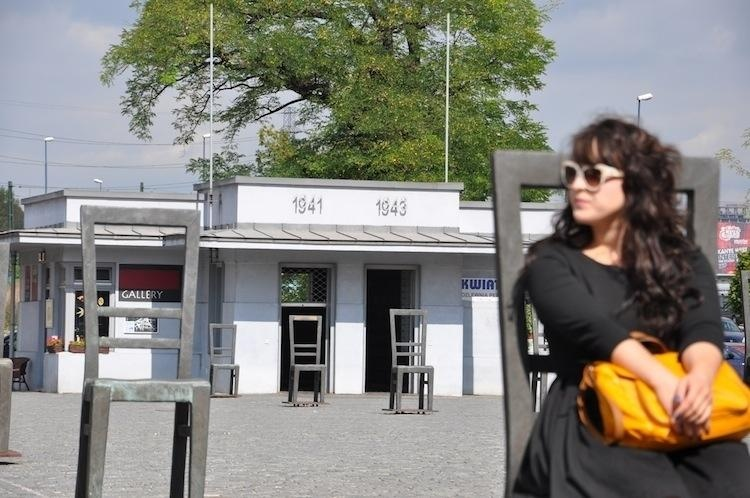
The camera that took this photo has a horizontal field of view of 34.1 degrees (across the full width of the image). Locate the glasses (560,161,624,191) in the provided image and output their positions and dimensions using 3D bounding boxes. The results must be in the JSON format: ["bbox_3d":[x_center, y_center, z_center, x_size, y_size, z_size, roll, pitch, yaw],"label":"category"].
[{"bbox_3d":[1.220,-0.427,6.991,0.243,0.101,0.207,6,1,-42],"label":"glasses"}]
